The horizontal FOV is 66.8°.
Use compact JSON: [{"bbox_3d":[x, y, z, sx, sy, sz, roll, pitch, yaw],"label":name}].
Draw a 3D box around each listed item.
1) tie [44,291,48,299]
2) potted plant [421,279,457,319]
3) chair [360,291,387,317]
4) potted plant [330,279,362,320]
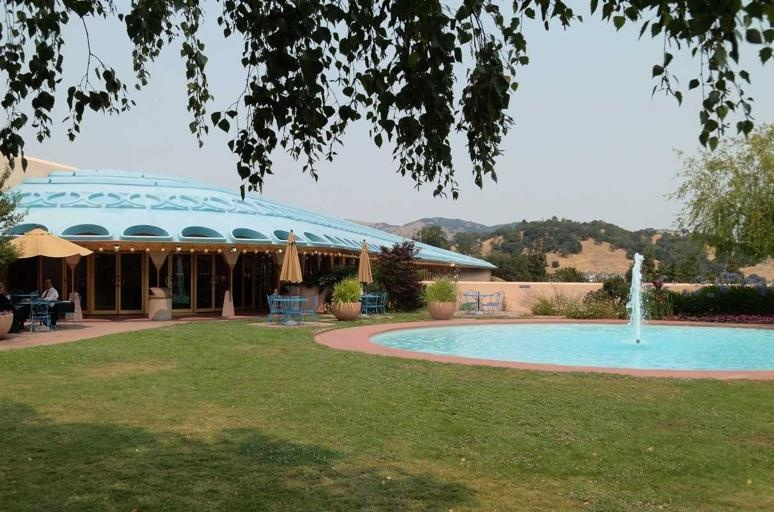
[{"bbox_3d":[-12.644,1.467,21.559,0.083,0.308,0.290,12,-26,-33],"label":"tie"},{"bbox_3d":[2.457,1.978,26.658,1.686,1.721,1.661,0,-9,-1],"label":"potted plant"},{"bbox_3d":[-0.646,2.283,27.307,1.199,1.352,0.991,1,0,-42],"label":"chair"},{"bbox_3d":[-1.682,1.874,24.505,1.018,1.602,1.114,3,4,26],"label":"potted plant"}]
